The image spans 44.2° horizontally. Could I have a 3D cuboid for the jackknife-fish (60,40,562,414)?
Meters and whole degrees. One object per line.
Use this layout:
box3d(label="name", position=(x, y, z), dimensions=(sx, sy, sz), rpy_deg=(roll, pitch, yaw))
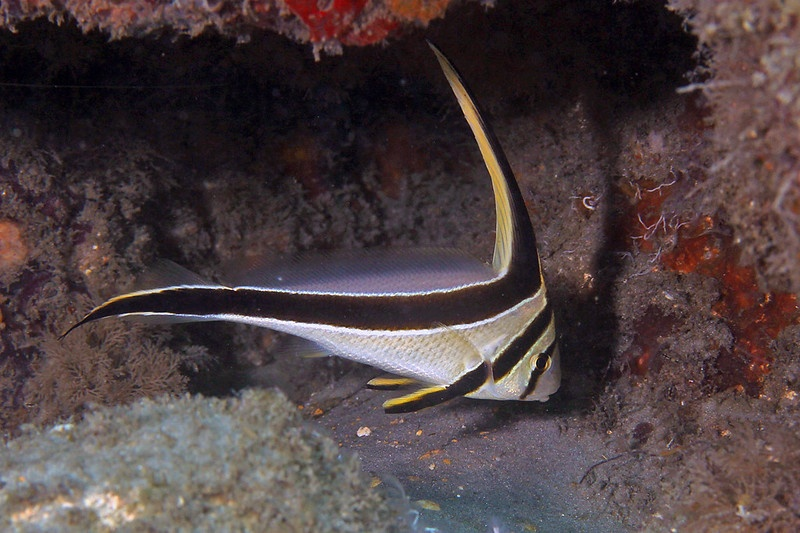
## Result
box3d(label="jackknife-fish", position=(-0.116, -0.093, 6.339), dimensions=(3.222, 2.216, 1.332), rpy_deg=(8, 25, -24))
